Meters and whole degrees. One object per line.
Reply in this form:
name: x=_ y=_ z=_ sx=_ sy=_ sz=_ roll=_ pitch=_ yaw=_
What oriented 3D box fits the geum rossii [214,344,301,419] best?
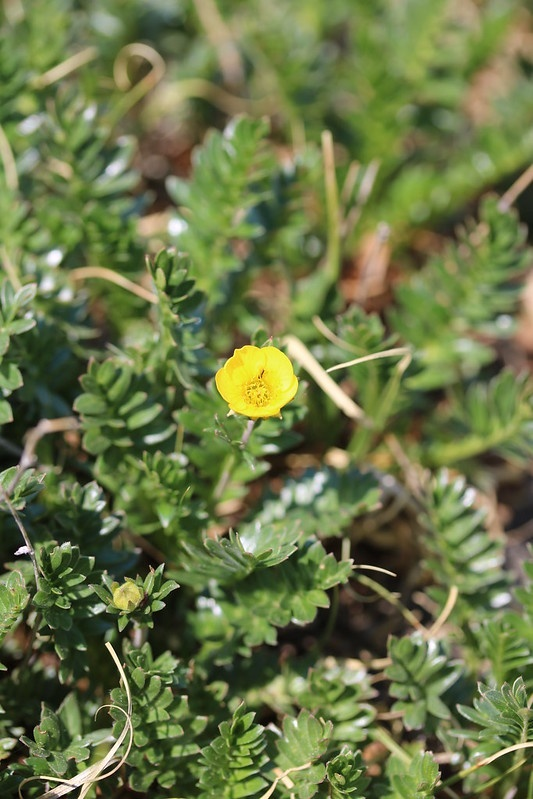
geum rossii: x=-0.002 y=-0.016 z=1.227 sx=0.158 sy=0.145 sz=0.061 roll=6 pitch=57 yaw=-1
